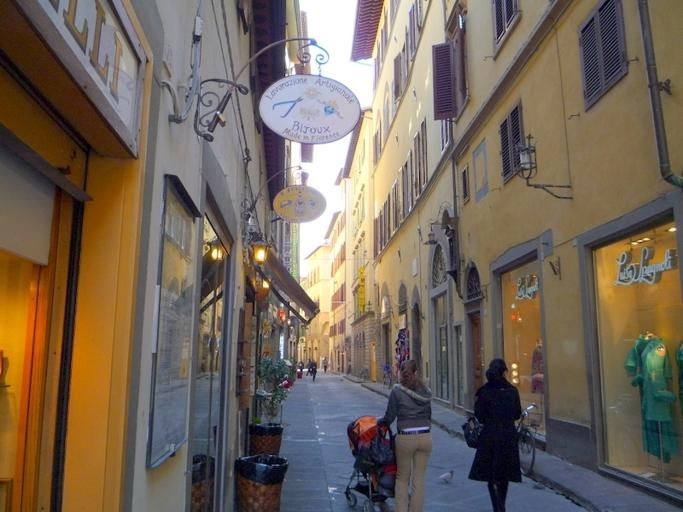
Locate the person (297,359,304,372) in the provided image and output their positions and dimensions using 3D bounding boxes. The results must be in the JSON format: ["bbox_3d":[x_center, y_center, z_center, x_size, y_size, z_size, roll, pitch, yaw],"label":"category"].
[{"bbox_3d":[-3.565,9.580,45.226,0.571,0.948,2.000,0,3,3],"label":"person"}]

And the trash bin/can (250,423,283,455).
[{"bbox_3d":[-1.299,3.165,9.272,0.448,0.581,0.557,0,-15,4],"label":"trash bin/can"}]

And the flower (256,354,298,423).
[{"bbox_3d":[-1.910,3.497,14.198,0.805,1.394,0.726,-5,-23,41],"label":"flower"}]

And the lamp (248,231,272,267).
[{"bbox_3d":[-1.313,-0.191,8.438,0.291,0.699,0.299,1,-14,-11],"label":"lamp"}]

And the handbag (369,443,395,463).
[{"bbox_3d":[0.525,2.509,6.720,0.248,0.308,0.208,7,-5,-8],"label":"handbag"}]

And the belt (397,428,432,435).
[{"bbox_3d":[0.888,2.162,6.488,0.396,0.060,0.183,-2,-24,-1],"label":"belt"}]

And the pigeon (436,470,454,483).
[{"bbox_3d":[1.731,3.654,8.773,0.269,0.274,0.162,2,-17,-10],"label":"pigeon"}]

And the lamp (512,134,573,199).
[{"bbox_3d":[3.987,-1.751,10.564,0.935,1.684,0.404,0,-28,17],"label":"lamp"}]

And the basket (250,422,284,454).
[{"bbox_3d":[-1.268,3.161,9.266,0.449,0.508,0.530,-4,-13,26],"label":"basket"}]
